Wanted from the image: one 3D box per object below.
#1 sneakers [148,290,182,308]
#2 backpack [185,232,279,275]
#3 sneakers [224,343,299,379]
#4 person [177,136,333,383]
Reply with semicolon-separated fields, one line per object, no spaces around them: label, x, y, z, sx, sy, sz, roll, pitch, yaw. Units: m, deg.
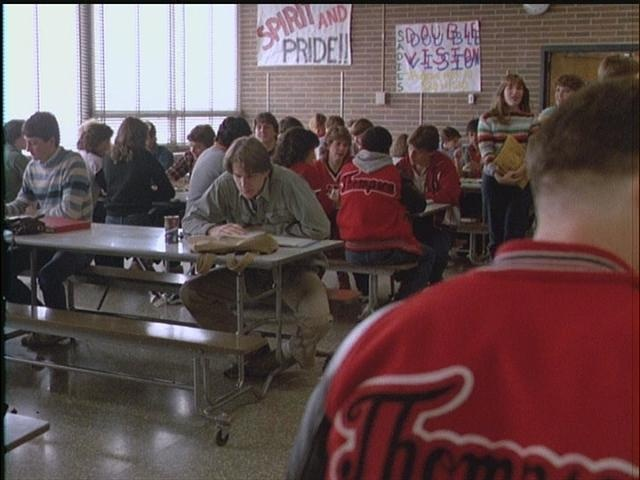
sneakers;-1.093;0.422;4.109;0.169;0.086;0.236;6;12;-3
backpack;-0.395;0.045;2.597;0.240;0.095;0.247;5;14;44
sneakers;-0.320;0.652;3.043;0.320;0.100;0.179;-25;15;-40
person;-0.301;0.094;3.115;0.824;1.268;0.666;3;11;23
